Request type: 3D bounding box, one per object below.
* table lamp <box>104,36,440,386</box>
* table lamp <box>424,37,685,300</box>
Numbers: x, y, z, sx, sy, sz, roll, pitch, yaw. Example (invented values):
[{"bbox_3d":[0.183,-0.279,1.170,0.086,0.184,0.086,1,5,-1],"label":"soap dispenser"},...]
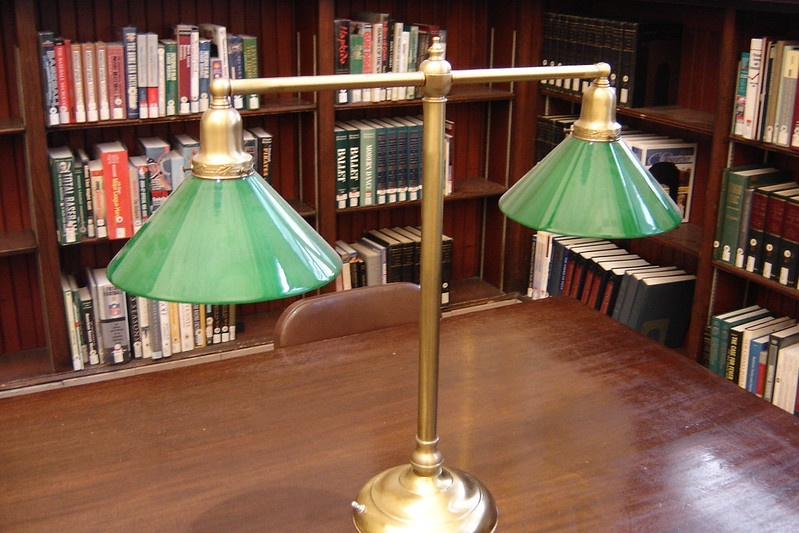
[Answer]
[{"bbox_3d":[-0.184,-0.197,1.163,0.664,0.335,0.371,-17,34,-39],"label":"table lamp"},{"bbox_3d":[0.275,-0.199,1.286,0.576,0.446,0.361,-8,33,-24],"label":"table lamp"}]
